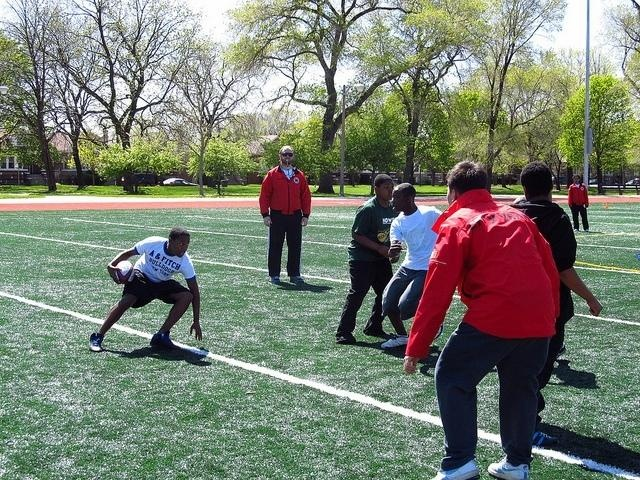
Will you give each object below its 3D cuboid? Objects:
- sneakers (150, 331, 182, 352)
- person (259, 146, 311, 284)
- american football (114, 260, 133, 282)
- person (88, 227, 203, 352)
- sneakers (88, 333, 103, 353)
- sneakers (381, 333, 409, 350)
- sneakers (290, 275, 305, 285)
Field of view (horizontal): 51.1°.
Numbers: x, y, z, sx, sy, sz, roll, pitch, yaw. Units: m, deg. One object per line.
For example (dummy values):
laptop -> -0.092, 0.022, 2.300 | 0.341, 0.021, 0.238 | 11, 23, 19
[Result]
sneakers -> -1.595, 1.052, 6.999 | 0.361, 0.201, 0.121 | 8, 8, -6
person -> -0.600, -0.462, 11.281 | 0.835, 2.214, 1.363 | 0, 6, -4
american football -> -2.023, 0.324, 6.995 | 0.193, 0.197, 0.232 | -4, -24, 6
person -> -2.156, 0.639, 8.172 | 1.142, 1.296, 0.722 | 5, 5, -40
sneakers -> -2.320, 1.042, 6.922 | 0.131, 0.159, 0.293 | -2, 7, -19
sneakers -> 0.792, 1.096, 7.266 | 0.347, 0.150, 0.116 | -3, 5, -9
sneakers -> -0.391, 0.645, 10.855 | 0.209, 0.130, 0.106 | -2, 16, -3
